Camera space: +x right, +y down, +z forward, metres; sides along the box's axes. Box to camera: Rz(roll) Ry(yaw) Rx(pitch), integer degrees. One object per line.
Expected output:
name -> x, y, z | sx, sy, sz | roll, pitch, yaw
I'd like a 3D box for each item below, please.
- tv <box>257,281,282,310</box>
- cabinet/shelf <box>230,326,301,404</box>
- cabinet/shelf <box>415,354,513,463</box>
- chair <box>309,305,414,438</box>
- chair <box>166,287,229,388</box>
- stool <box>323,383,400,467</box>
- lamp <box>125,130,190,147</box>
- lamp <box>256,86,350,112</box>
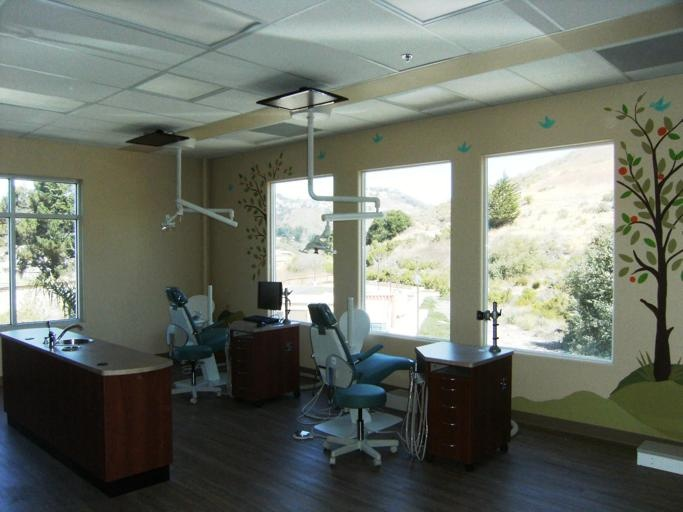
tv -> -0.964, 0.541, 7.204 | 0.390, 0.353, 0.206 | -2, -4, 33
cabinet/shelf -> -0.983, 1.379, 6.929 | 0.546, 0.915, 0.824 | -5, -4, 43
cabinet/shelf -> 1.245, 1.457, 5.259 | 0.634, 0.990, 0.883 | -2, -2, 42
chair -> 0.213, 1.158, 5.712 | 1.040, 1.324, 0.825 | -2, -2, -40
chair -> -1.910, 1.140, 7.258 | 0.920, 1.317, 0.967 | 4, -6, -42
stool -> 0.194, 1.669, 5.290 | 0.753, 0.636, 0.728 | 3, -2, -32
lamp -> -2.369, -1.562, 7.033 | 0.617, 0.171, 0.547 | 5, 8, 42
lamp -> -0.347, -1.562, 5.318 | 0.802, 0.181, 0.489 | 1, 6, 17
